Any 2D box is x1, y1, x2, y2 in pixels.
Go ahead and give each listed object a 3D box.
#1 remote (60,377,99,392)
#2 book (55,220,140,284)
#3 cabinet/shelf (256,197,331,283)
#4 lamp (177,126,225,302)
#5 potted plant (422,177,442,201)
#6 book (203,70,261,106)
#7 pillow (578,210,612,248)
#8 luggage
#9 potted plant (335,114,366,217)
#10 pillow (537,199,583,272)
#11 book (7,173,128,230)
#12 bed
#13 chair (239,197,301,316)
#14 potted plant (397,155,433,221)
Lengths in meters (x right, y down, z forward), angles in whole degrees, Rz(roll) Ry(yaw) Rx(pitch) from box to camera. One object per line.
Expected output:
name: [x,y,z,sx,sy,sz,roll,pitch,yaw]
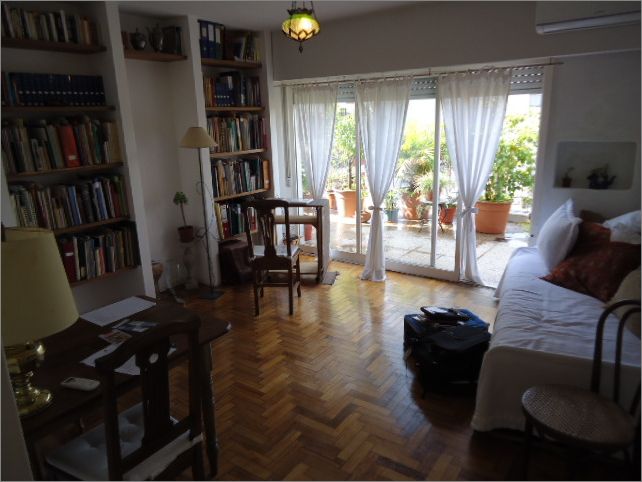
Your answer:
remote: [-1.286,0.761,2.415,0.153,0.022,0.082,5,13,9]
book: [-2.031,0.118,4.129,0.604,0.215,0.473,0,9,29]
cabinet/shelf: [-0.408,-0.033,5.286,0.741,1.110,0.923,0,1,7]
lamp: [-1.258,-0.287,4.870,0.340,1.868,0.591,-5,12,-14]
potted plant: [1.316,-0.595,5.359,0.215,0.232,0.206,3,16,16]
book: [-1.062,-1.792,5.375,0.240,0.420,0.877,5,14,29]
pillow: [2.391,-0.131,4.003,0.321,0.335,0.101,5,-15,24]
luggage: [1.009,0.804,3.698,0.735,0.328,0.605,-14,20,-29]
potted plant: [0.280,-0.962,5.849,0.304,1.389,0.468,-2,12,0]
pillow: [2.137,-0.039,4.037,0.163,0.382,0.587,20,20,16]
book: [-2.214,-0.337,4.002,0.215,0.416,0.950,7,15,36]
bed: [1.708,0.641,3.226,0.634,0.682,1.662,7,24,31]
chair: [-0.499,0.105,4.788,0.533,1.183,0.894,-2,12,-3]
potted plant: [1.139,-0.639,5.466,0.387,0.822,0.241,1,12,11]
